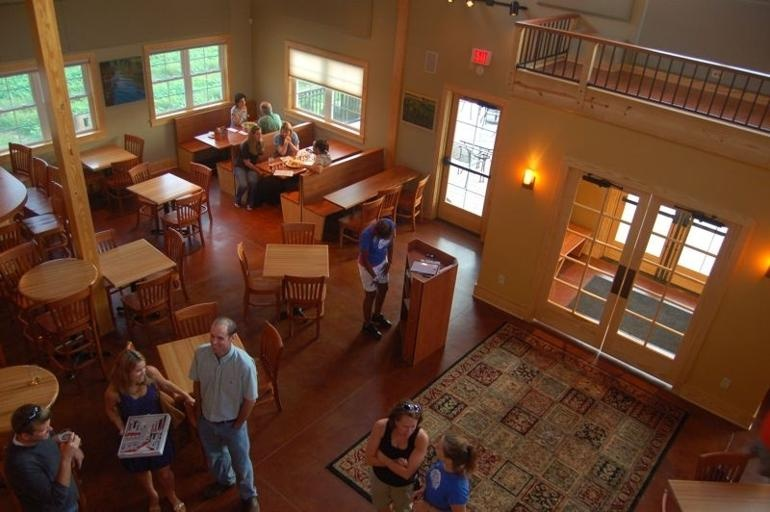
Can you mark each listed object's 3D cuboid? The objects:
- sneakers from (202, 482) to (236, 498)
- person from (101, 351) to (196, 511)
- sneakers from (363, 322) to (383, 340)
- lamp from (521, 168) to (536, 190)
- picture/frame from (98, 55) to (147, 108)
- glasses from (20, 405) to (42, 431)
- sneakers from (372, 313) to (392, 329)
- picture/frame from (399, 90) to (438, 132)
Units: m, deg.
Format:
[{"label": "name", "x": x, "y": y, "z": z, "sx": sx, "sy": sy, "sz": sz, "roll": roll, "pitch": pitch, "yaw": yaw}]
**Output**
[{"label": "sneakers", "x": -2.104, "y": 2.929, "z": 6.896, "sx": 0.356, "sy": 0.154, "sz": 0.156, "roll": -5, "pitch": 39, "yaw": -25}, {"label": "person", "x": -2.761, "y": 2.047, "z": 6.438, "sx": 0.828, "sy": 2.204, "sz": 0.796, "roll": -4, "pitch": 27, "yaw": -14}, {"label": "sneakers", "x": -0.214, "y": 1.239, "z": 9.061, "sx": 0.360, "sy": 0.171, "sz": 0.184, "roll": 36, "pitch": 50, "yaw": 21}, {"label": "lamp", "x": 2.342, "y": -1.268, "z": 8.888, "sx": 0.189, "sy": 0.357, "sz": 0.191, "roll": 28, "pitch": 37, "yaw": 34}, {"label": "picture/frame", "x": -5.737, "y": -3.848, "z": 11.892, "sx": 1.024, "sy": 1.045, "sz": 0.101, "roll": -20, "pitch": 32, "yaw": -40}, {"label": "glasses", "x": -3.440, "y": 1.560, "z": 5.335, "sx": 0.146, "sy": 0.177, "sz": 0.184, "roll": 4, "pitch": -14, "yaw": -41}, {"label": "sneakers", "x": -0.040, "y": 1.092, "z": 9.206, "sx": 0.318, "sy": 0.163, "sz": 0.180, "roll": 18, "pitch": 32, "yaw": -2}, {"label": "picture/frame", "x": 0.743, "y": -3.107, "z": 11.564, "sx": 0.801, "sy": 0.626, "sz": 0.052, "roll": 23, "pitch": 36, "yaw": 29}]
